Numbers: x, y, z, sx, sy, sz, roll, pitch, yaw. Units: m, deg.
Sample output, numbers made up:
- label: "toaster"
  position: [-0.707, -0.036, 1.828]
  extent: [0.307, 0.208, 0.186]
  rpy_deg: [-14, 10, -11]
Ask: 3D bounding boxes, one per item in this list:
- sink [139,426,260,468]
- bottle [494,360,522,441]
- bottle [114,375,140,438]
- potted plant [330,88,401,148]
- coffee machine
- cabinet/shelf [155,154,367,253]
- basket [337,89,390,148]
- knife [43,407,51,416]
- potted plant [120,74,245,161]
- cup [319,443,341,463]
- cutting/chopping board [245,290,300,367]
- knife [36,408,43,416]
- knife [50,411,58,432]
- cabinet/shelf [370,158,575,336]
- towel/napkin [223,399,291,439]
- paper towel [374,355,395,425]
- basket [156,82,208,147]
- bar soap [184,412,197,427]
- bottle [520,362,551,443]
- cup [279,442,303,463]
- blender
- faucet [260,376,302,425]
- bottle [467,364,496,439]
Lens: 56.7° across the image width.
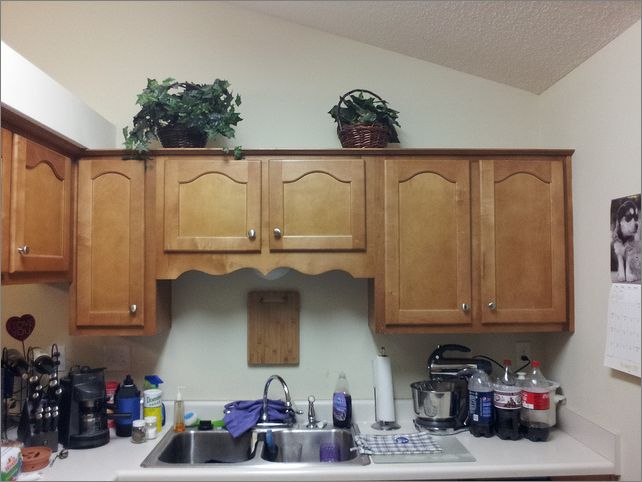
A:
- label: "sink"
  position: [-0.625, 1.079, 3.045]
  extent: [0.535, 0.170, 0.371]
  rpy_deg: [-1, -7, -7]
- label: "bottle"
  position: [0.983, 0.837, 3.159]
  extent: [0.154, 0.425, 0.157]
  rpy_deg: [0, 0, 0]
- label: "bottle"
  position: [-1.060, 0.893, 3.243]
  extent: [0.131, 0.313, 0.140]
  rpy_deg: [1, -4, 0]
- label: "potted plant"
  position: [0.256, -0.643, 3.370]
  extent: [0.388, 0.310, 0.359]
  rpy_deg: [0, -6, -3]
- label: "coffee machine"
  position: [-1.223, 0.861, 3.062]
  extent: [0.240, 0.390, 0.138]
  rpy_deg: [1, -7, -23]
- label: "cabinet/shelf"
  position: [-0.298, -0.200, 3.306]
  extent: [1.166, 0.563, 0.379]
  rpy_deg: [0, 4, -1]
- label: "basket"
  position: [0.194, -0.657, 3.331]
  extent: [0.343, 0.405, 0.311]
  rpy_deg: [0, -3, -14]
- label: "knife"
  position: [-1.372, 0.848, 2.974]
  extent: [0.035, 0.039, 0.013]
  rpy_deg: [1, -11, -21]
- label: "potted plant"
  position: [-0.718, -0.676, 3.172]
  extent: [0.566, 0.332, 0.484]
  rpy_deg: [0, -2, 2]
- label: "cup"
  position: [0.045, 1.128, 3.170]
  extent: [0.112, 0.082, 0.094]
  rpy_deg: [-1, -7, -2]
- label: "cutting/chopping board"
  position: [-0.272, 0.495, 3.419]
  extent: [0.284, 0.425, 0.055]
  rpy_deg: [2, 3, -14]
- label: "knife"
  position: [-1.403, 0.846, 2.960]
  extent: [0.024, 0.032, 0.010]
  rpy_deg: [3, -10, -14]
- label: "knife"
  position: [-1.345, 0.900, 2.991]
  extent: [0.039, 0.146, 0.035]
  rpy_deg: [-15, 41, -41]
- label: "cabinet/shelf"
  position: [0.780, 0.031, 3.394]
  extent: [1.012, 0.946, 0.509]
  rpy_deg: [2, 4, -1]
- label: "towel/napkin"
  position: [-0.346, 0.916, 3.240]
  extent: [0.350, 0.169, 0.306]
  rpy_deg: [2, 3, -13]
- label: "paper towel"
  position: [0.372, 0.828, 3.344]
  extent: [0.163, 0.385, 0.104]
  rpy_deg: [4, -9, -40]
- label: "basket"
  position: [-0.736, -0.648, 3.183]
  extent: [0.274, 0.351, 0.218]
  rpy_deg: [0, 8, -9]
- label: "bar soap"
  position: [-0.718, 0.981, 3.268]
  extent: [0.071, 0.067, 0.062]
  rpy_deg: [0, -7, -13]
- label: "bottle"
  position: [1.135, 0.821, 3.138]
  extent: [0.141, 0.386, 0.143]
  rpy_deg: [-4, 6, 0]
- label: "cup"
  position: [-0.160, 1.139, 3.199]
  extent: [0.142, 0.131, 0.077]
  rpy_deg: [1, -11, -6]
- label: "blender"
  position: [0.680, 0.813, 3.246]
  extent: [0.386, 0.477, 0.292]
  rpy_deg: [1, 3, -3]
- label: "faucet"
  position: [-0.224, 0.865, 3.233]
  extent: [0.211, 0.270, 0.188]
  rpy_deg: [-1, -7, -6]
- label: "bottle"
  position: [0.845, 0.871, 3.139]
  extent: [0.115, 0.288, 0.147]
  rpy_deg: [1, -6, -8]
